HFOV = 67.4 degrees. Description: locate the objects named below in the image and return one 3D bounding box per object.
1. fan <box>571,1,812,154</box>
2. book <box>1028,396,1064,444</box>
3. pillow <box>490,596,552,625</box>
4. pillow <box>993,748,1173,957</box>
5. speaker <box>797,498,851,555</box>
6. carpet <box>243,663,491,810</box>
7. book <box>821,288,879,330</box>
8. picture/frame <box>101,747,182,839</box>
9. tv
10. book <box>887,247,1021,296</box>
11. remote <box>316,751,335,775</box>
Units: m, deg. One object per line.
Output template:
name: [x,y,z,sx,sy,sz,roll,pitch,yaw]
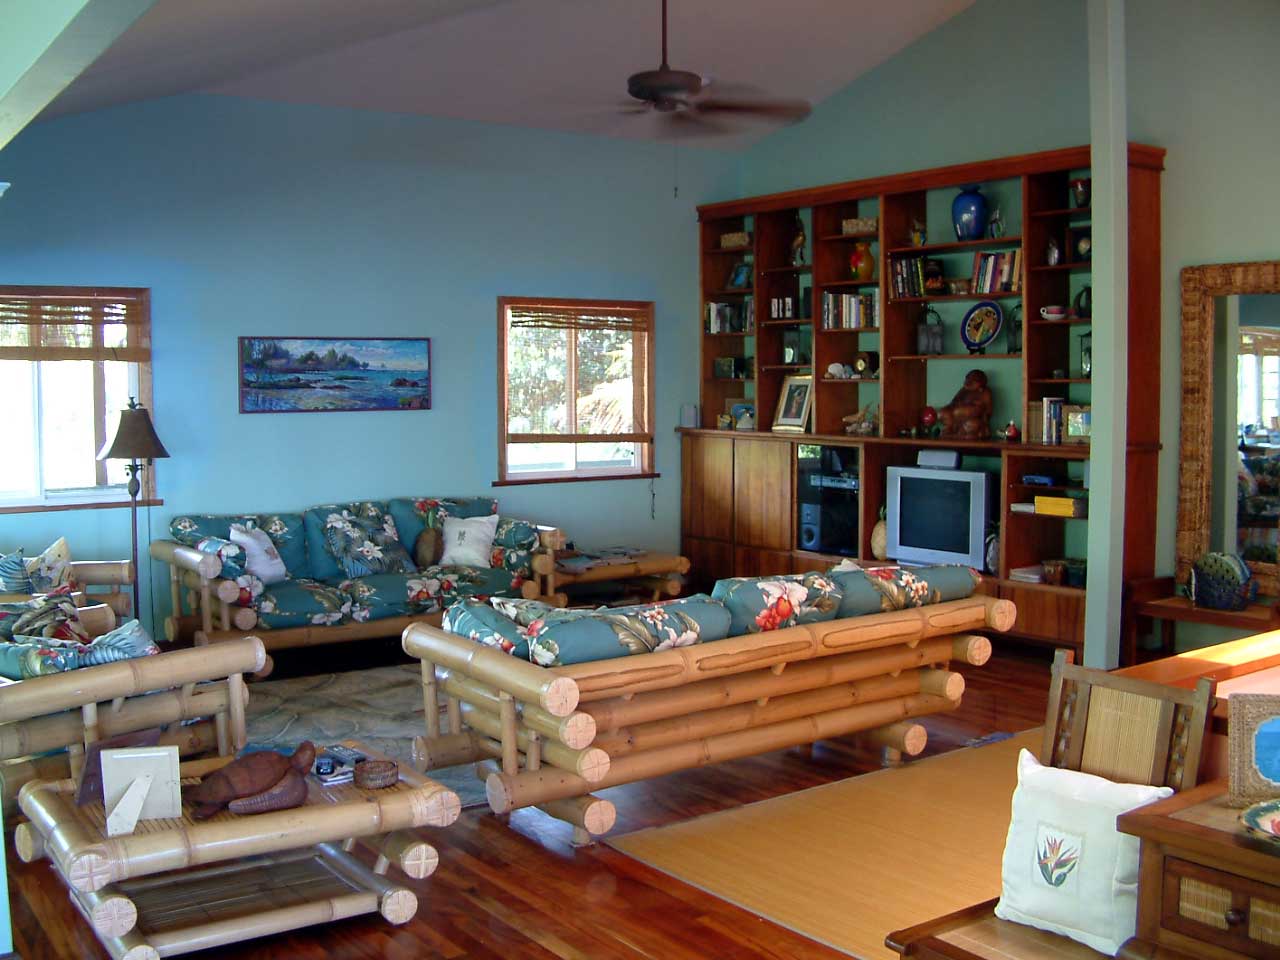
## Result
fan: [0.215,-1.742,4.704,0.823,0.837,0.760,0,-3,-31]
book: [2.859,-0.405,6.719,0.223,0.315,0.131,2,5,19]
pillow: [-0.517,0.590,4.283,0.172,0.052,0.155,-2,3,31]
pillow: [1.139,0.965,2.428,0.160,0.443,0.469,25,-16,-32]
speaker: [1.561,0.395,7.979,0.245,0.443,0.515,1,0,-30]
carpet: [-1.763,1.435,5.797,0.705,0.225,1.001,-10,14,-37]
book: [1.757,-1.350,7.994,0.505,0.438,0.364,3,8,22]
picture/frame: [-1.753,1.117,3.366,0.292,0.266,0.155,-1,5,-32]
tv: [2.281,0.294,7.125,0.427,0.656,0.818,0,3,-40]
book: [2.486,-1.569,7.287,0.512,0.396,1.045,-5,7,-43]
remote: [-1.254,1.149,3.825,0.092,0.038,0.124,-1,8,-11]
